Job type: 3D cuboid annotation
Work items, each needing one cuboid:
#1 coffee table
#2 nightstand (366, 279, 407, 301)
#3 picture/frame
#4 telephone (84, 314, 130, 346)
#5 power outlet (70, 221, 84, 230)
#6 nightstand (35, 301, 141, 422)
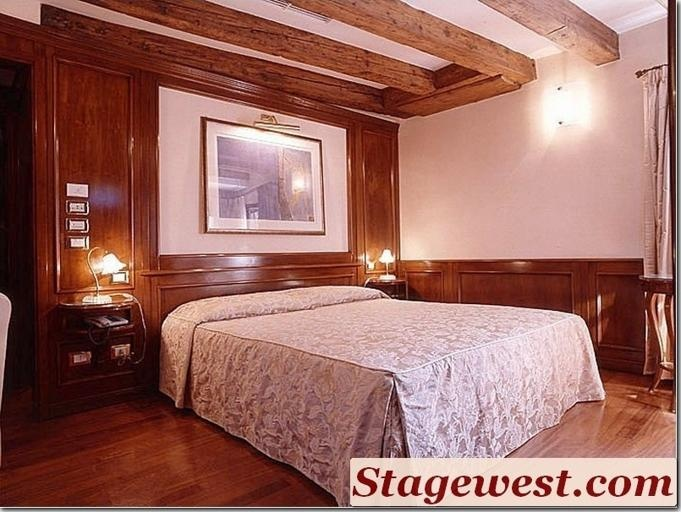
[{"bbox_3d":[2.783,0.693,3.976,0.303,1.058,1.170,4,9,34],"label":"coffee table"},{"bbox_3d":[0.662,0.442,6.151,0.409,0.410,0.375,1,-5,-9],"label":"nightstand"},{"bbox_3d":[-0.848,-0.843,5.078,1.506,1.282,0.182,-7,10,-36],"label":"picture/frame"},{"bbox_3d":[-2.034,0.649,3.960,0.345,0.272,0.241,-5,9,-27],"label":"telephone"},{"bbox_3d":[-2.323,-0.261,3.983,0.121,0.085,0.023,-6,9,-30],"label":"power outlet"},{"bbox_3d":[-2.175,0.865,3.991,0.885,0.915,0.357,-5,8,-24],"label":"nightstand"}]
